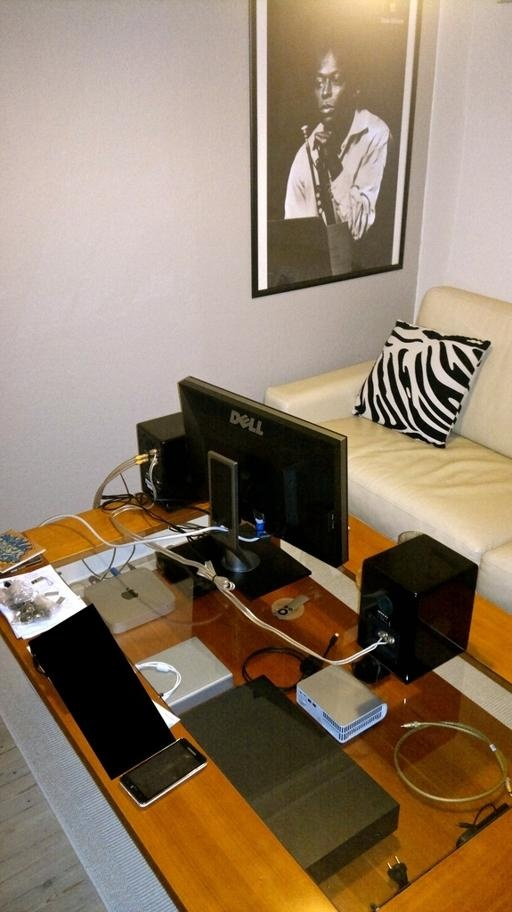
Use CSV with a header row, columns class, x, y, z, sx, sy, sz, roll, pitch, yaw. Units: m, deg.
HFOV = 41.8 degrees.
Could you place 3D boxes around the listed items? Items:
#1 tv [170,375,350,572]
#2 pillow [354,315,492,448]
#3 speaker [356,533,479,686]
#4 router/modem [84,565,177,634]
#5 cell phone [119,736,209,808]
class,x,y,z,sx,sy,sz,roll,pitch,yaw
tv,-0.001,0.056,1.593,0.064,0.375,0.486,-30,43,-33
pillow,0.660,-0.287,2.636,0.146,0.480,0.479,14,13,-39
speaker,0.311,0.251,1.356,0.247,0.261,0.173,-24,37,-36
router/modem,-0.265,0.310,1.448,0.122,0.032,0.125,-19,33,-34
cell phone,-0.146,0.496,1.039,0.073,0.015,0.131,15,29,39
